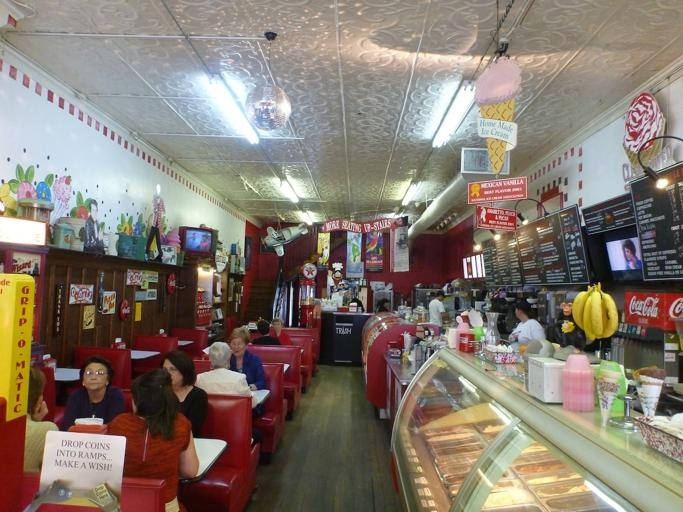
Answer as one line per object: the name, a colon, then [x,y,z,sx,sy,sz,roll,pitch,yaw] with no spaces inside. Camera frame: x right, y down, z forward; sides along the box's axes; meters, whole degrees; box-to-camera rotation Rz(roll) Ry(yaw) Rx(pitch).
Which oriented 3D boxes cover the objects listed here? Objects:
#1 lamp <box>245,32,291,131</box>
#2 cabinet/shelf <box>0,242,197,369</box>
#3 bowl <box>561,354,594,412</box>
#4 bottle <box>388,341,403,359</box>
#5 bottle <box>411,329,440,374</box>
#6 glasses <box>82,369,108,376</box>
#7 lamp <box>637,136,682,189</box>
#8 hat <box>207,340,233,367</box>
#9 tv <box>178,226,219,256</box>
lamp: [-0.761,-1.747,4.536,0.419,0.958,0.900,2,-2,-8]
cabinet/shelf: [-2.902,0.606,5.299,0.312,0.942,2.045,-4,-8,8]
bowl: [1.033,0.556,1.901,0.188,0.221,0.110,3,-2,-42]
bottle: [0.675,1.204,5.621,0.145,0.170,0.251,1,-5,2]
bottle: [0.901,1.075,4.815,0.193,0.374,0.389,17,-9,-5]
glasses: [-1.990,0.952,3.514,0.161,0.041,0.060,2,-2,-29]
lamp: [3.178,-0.955,4.388,0.334,0.601,0.769,0,-2,36]
hat: [-1.173,0.951,4.222,0.208,0.251,0.261,2,5,-2]
tv: [-2.976,-0.210,9.098,0.934,0.737,0.579,3,-7,-32]
